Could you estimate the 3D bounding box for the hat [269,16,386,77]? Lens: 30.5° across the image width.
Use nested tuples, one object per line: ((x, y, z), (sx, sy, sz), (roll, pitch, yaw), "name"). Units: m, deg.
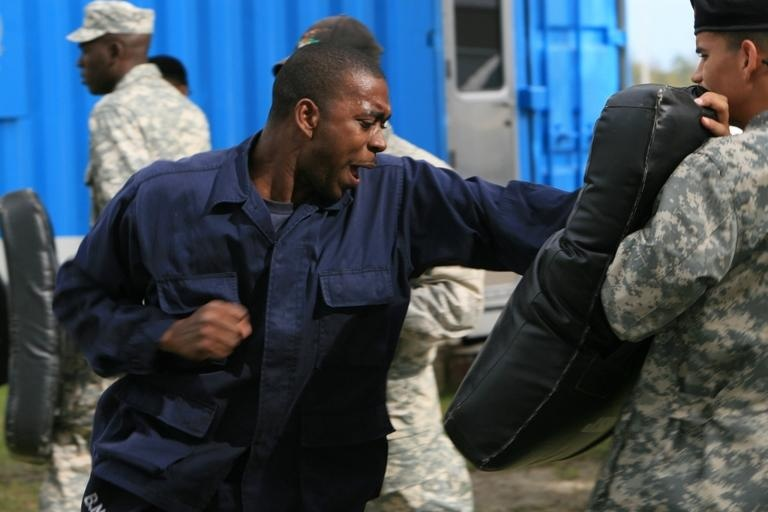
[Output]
((-0.254, -0.948, 6.398), (0.454, 0.239, 0.308), (1, 6, -13), "hat")
